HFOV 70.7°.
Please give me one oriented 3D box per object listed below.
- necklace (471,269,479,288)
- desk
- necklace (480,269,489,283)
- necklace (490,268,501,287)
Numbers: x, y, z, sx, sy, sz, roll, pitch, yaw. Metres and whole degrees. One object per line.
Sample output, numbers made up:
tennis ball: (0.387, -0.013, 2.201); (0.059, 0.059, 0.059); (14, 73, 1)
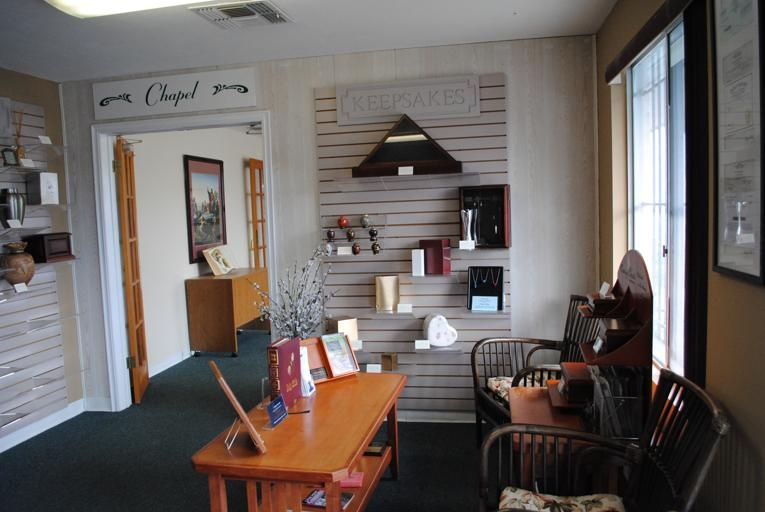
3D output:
necklace: (0.845, 0.201, 4.937); (0.056, 0.169, 0.036); (-1, 11, 8)
desk: (-2.144, 0.742, 7.445); (0.765, 1.087, 0.865); (1, 11, 19)
necklace: (0.940, 0.177, 4.925); (0.121, 0.114, 0.030); (6, 8, 9)
necklace: (1.029, 0.190, 4.913); (0.128, 0.186, 0.048); (-1, 11, 11)
